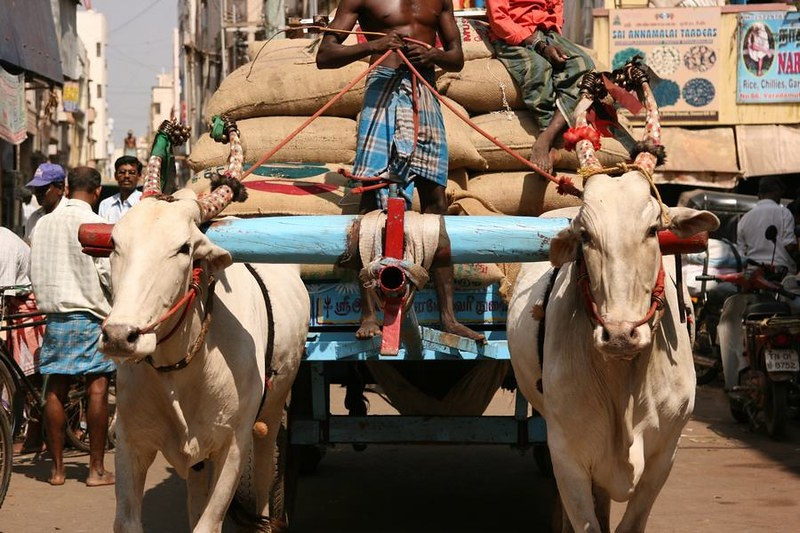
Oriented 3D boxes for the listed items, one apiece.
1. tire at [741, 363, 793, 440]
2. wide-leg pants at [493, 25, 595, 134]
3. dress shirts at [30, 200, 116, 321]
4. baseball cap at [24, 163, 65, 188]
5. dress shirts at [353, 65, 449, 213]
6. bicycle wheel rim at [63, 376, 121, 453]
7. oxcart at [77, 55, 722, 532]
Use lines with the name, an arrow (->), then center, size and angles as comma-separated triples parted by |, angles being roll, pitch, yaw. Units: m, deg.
tire -> 4.051, 1.520, 14.985 | 0.439, 0.547, 0.838 | 2, -6, -5
wide-leg pants -> 1.474, -1.976, 14.170 | 0.688, 0.438, 1.237 | -3, 38, -24
dress shirts -> -3.237, -0.064, 13.745 | 0.963, 1.252, 0.736 | 10, 8, 19
baseball cap -> -3.814, -0.985, 14.479 | 0.244, 0.211, 0.370 | 7, 8, 39
dress shirts -> -0.031, -1.181, 12.480 | 0.814, 1.343, 0.454 | 1, 1, 5
bicycle wheel rim -> -3.540, 1.483, 14.924 | 0.545, 0.707, 1.147 | -5, 3, -2
oxcart -> 0.400, -0.170, 12.591 | 4.842, 3.435, 3.842 | 0, 0, 2
